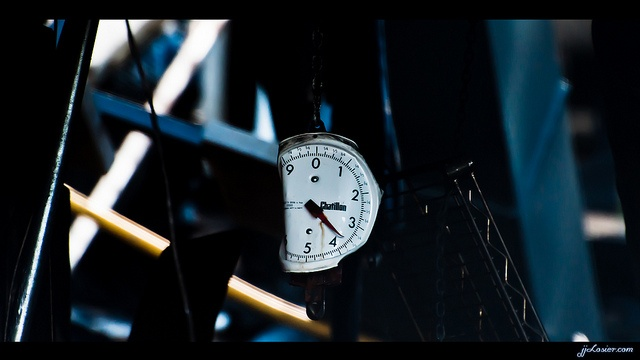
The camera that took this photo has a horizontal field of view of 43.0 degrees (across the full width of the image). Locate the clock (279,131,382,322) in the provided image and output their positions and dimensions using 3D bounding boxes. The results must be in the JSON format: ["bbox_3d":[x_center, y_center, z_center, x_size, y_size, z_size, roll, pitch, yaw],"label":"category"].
[{"bbox_3d":[0.029,0.085,3.289,0.396,0.523,0.211,-2,19,2],"label":"clock"}]
